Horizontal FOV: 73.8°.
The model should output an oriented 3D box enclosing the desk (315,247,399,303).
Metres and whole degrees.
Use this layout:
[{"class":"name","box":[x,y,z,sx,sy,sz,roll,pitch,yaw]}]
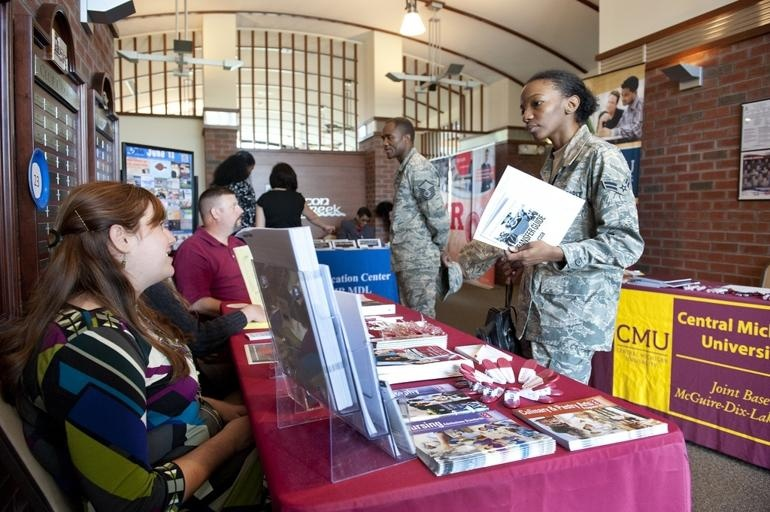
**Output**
[{"class":"desk","box":[-0.276,0.120,5.104,0.937,0.624,0.518,-2,8,-6]}]
